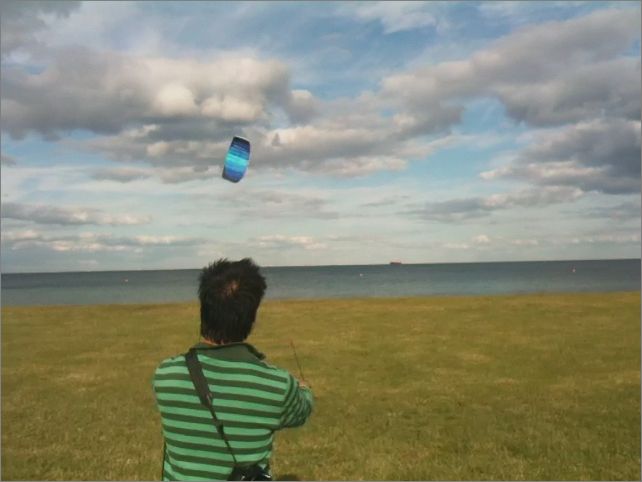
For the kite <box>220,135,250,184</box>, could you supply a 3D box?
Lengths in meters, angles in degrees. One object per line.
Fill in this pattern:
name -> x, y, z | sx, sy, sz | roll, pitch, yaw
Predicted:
kite -> -2.621, -2.492, 15.964 | 0.451, 1.323, 0.893 | 7, 12, 43
